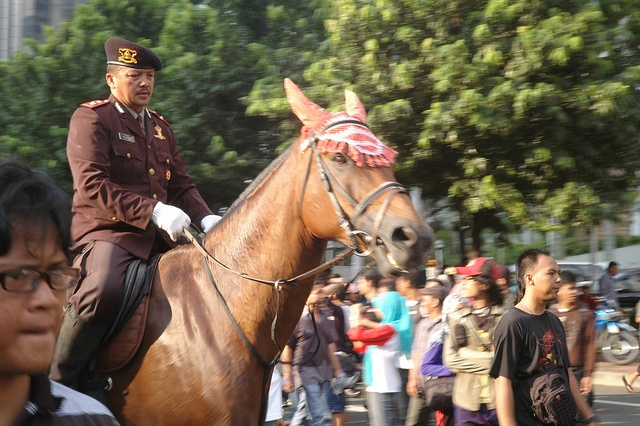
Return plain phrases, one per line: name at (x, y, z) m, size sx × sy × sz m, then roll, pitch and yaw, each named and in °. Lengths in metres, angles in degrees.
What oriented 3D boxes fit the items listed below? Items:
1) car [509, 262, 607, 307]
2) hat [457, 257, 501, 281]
car at (6.819, 1.895, 28.059) m, size 2.590 × 0.979 × 1.381 m, roll 12°, pitch -10°, yaw -41°
hat at (2.347, 0.807, 14.352) m, size 0.548 × 0.206 × 0.322 m, roll 6°, pitch -8°, yaw -3°
